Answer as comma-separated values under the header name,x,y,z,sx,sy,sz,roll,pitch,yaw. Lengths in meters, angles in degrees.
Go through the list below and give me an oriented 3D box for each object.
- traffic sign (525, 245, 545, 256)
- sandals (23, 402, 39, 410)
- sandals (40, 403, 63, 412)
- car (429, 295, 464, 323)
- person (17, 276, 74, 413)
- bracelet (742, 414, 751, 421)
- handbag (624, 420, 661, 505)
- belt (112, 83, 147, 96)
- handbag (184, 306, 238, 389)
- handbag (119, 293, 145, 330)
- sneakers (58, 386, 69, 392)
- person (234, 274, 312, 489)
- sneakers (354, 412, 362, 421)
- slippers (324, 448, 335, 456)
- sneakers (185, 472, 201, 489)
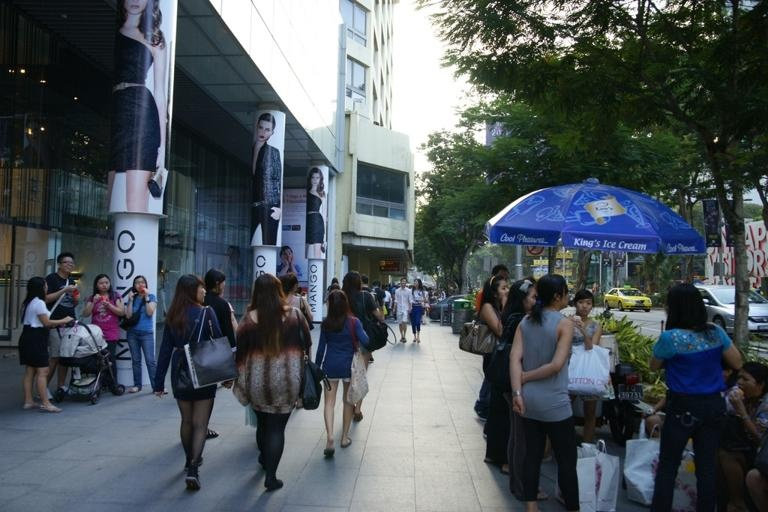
name,x,y,z,sx,sy,sz,roll,pitch,yaw
traffic sign,3.901,-0.138,16.517,0.278,0.300,0.015,6,-2,6
sandals,-6.426,2.741,11.576,0.285,0.128,0.125,-1,-1,-13
sandals,-6.001,2.738,11.412,0.320,0.124,0.186,2,-1,5
car,3.327,3.078,36.462,2.028,1.001,1.211,2,-1,24
person,-6.237,1.594,11.541,0.683,2.423,0.681,2,-3,-28
bracelet,4.381,1.967,7.713,0.059,0.063,0.062,-3,-8,23
handbag,3.342,2.713,8.226,0.435,1.182,0.883,-2,-6,29
belt,-5.467,-3.593,13.524,0.733,0.186,0.105,0,-3,7
handbag,-2.348,1.241,8.521,0.699,1.103,0.337,1,-3,-15
handbag,-5.064,1.130,12.892,0.231,0.715,0.405,3,-18,29
sneakers,-6.138,2.547,12.139,0.092,0.112,0.250,5,-12,-34
person,-1.515,1.683,8.584,0.975,2.845,0.368,1,-3,-15
sneakers,-0.485,2.845,11.245,0.161,0.134,0.485,0,-12,0
slippers,-0.833,2.936,9.471,0.146,0.150,0.091,8,-13,-3
sneakers,-2.534,2.971,8.390,0.193,0.218,0.213,1,-3,-19
